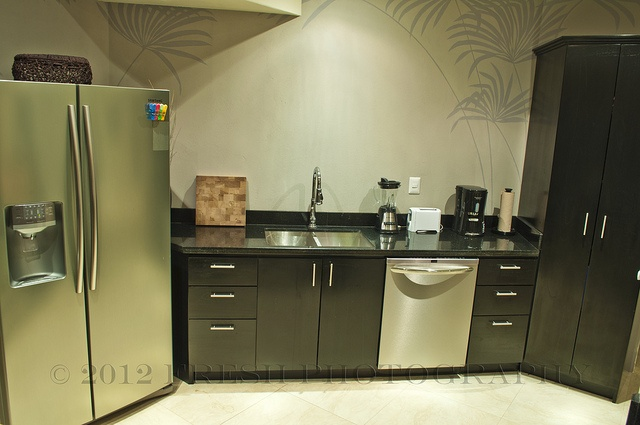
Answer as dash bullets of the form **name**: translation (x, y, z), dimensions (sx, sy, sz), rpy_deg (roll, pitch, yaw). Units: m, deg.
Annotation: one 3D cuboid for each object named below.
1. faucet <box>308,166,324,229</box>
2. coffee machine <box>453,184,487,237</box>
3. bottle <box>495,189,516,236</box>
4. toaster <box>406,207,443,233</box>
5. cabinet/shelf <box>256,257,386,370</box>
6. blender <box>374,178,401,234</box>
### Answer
- **faucet**: translation (-0.038, -0.117, 4.145), dimensions (0.122, 0.527, 0.277), rpy_deg (1, 7, -1)
- **coffee machine**: translation (1.310, -0.031, 4.295), dimensions (0.256, 0.407, 0.322), rpy_deg (2, 14, 2)
- **bottle**: translation (1.638, -0.016, 4.332), dimensions (0.123, 0.395, 0.229), rpy_deg (4, 8, 19)
- **toaster**: translation (0.891, 0.077, 4.294), dimensions (0.240, 0.169, 0.224), rpy_deg (0, 10, -3)
- **cabinet/shelf**: translation (-0.019, 0.747, 3.809), dimensions (0.932, 0.763, 0.343), rpy_deg (0, 6, -4)
- **blender**: translation (0.594, -0.064, 4.261), dimensions (0.202, 0.471, 0.261), rpy_deg (2, 7, 8)
